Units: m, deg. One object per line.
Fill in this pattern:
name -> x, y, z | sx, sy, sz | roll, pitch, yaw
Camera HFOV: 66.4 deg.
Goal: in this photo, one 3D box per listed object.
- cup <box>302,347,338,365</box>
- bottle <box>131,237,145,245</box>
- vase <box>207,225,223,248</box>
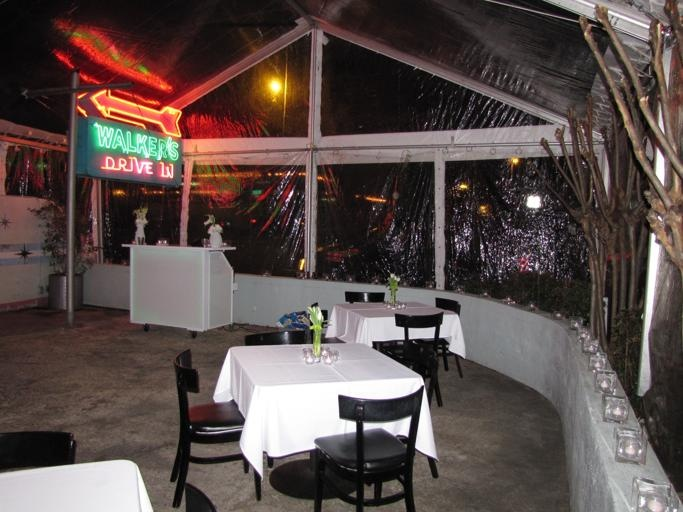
cup -> -0.160, 0.800, 4.243 | 0.295, 0.115, 0.180 | 2, 1, -5
bottle -> -3.438, -0.224, 8.821 | 0.158, 0.168, 0.162 | 5, -6, -25
vase -> -2.001, -0.321, 8.322 | 0.215, 0.403, 0.384 | 1, 1, -16
